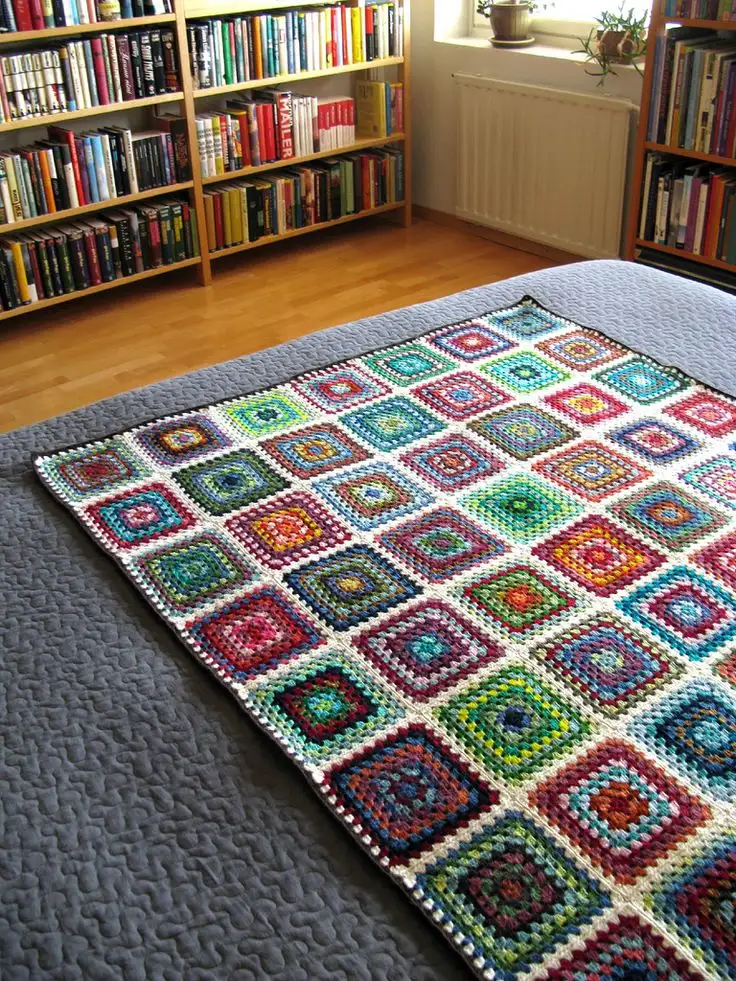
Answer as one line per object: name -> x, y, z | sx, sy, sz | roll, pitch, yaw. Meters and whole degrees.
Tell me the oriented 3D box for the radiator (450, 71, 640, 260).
radiator -> 0.736, -1.328, 3.285 | 0.109, 0.667, 1.035 | -32, 46, -31
